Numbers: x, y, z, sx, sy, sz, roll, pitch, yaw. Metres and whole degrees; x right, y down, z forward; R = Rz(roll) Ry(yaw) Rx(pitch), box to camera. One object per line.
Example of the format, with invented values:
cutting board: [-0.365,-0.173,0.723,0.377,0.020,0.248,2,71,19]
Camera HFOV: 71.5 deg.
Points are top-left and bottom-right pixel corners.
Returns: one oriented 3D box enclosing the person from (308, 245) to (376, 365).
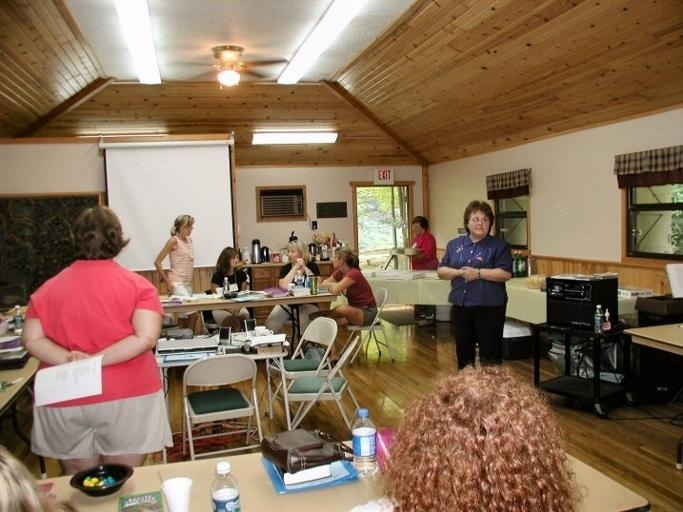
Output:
person: [0.004,0.367,5.826,0.894,0.964,0.844,1,4,40]

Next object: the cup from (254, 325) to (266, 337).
cup: [-0.706,0.650,4.128,0.078,0.052,0.061,-2,-1,19]

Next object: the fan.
fan: [-1.537,-2.805,6.675,1.264,0.261,1.239,5,44,23]

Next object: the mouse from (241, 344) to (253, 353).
mouse: [-0.729,0.709,3.605,0.057,0.055,0.078,1,-8,-10]

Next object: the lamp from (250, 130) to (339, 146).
lamp: [-0.852,-2.223,8.744,1.572,0.285,0.303,-1,3,-14]

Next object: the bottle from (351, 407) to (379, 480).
bottle: [0.100,0.728,1.953,0.101,0.267,0.242,0,3,2]

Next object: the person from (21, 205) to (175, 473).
person: [-1.130,0.401,2.191,0.623,1.271,0.304,-1,3,-19]

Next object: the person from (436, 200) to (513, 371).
person: [1.136,0.397,4.085,0.399,1.226,0.580,-3,4,-44]

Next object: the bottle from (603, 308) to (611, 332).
bottle: [2.350,0.551,4.178,0.061,0.180,0.212,1,3,29]

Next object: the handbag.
handbag: [-0.137,0.756,1.858,0.210,0.069,0.202,-2,3,-29]

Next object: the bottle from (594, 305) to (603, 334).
bottle: [2.235,0.544,4.109,0.076,0.239,0.103,0,3,10]

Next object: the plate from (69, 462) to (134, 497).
plate: [-0.891,0.846,1.759,0.206,0.099,0.134,-1,3,-23]

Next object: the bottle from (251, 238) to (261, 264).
bottle: [-1.552,-0.102,8.632,0.172,0.438,0.224,-1,3,-11]
